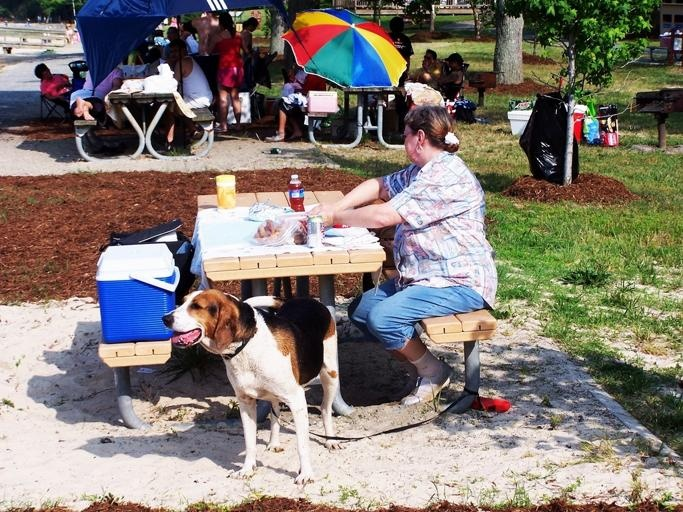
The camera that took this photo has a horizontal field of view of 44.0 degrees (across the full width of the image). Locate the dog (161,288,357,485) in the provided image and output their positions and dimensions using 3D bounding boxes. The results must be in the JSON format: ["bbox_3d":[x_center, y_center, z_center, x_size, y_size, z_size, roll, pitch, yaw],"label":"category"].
[{"bbox_3d":[-0.571,0.895,6.475,1.042,1.361,1.979,-2,-2,19],"label":"dog"}]

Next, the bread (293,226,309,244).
[{"bbox_3d":[-0.325,-0.169,6.639,0.129,0.129,0.134,-14,28,-6],"label":"bread"}]

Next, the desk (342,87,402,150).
[{"bbox_3d":[0.582,-2.809,16.028,1.209,1.033,1.514,0,26,-4],"label":"desk"}]

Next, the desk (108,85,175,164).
[{"bbox_3d":[-3.176,-2.067,13.779,1.131,0.904,1.119,-3,-1,-15],"label":"desk"}]

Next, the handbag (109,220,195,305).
[{"bbox_3d":[-1.598,-0.033,7.603,0.873,0.805,0.631,10,22,-7],"label":"handbag"}]

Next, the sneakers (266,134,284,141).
[{"bbox_3d":[-1.238,-2.271,16.074,0.344,0.127,0.139,0,6,-1],"label":"sneakers"}]

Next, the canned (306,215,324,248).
[{"bbox_3d":[-0.194,-0.194,6.483,0.120,0.237,0.171,0,13,-2],"label":"canned"}]
